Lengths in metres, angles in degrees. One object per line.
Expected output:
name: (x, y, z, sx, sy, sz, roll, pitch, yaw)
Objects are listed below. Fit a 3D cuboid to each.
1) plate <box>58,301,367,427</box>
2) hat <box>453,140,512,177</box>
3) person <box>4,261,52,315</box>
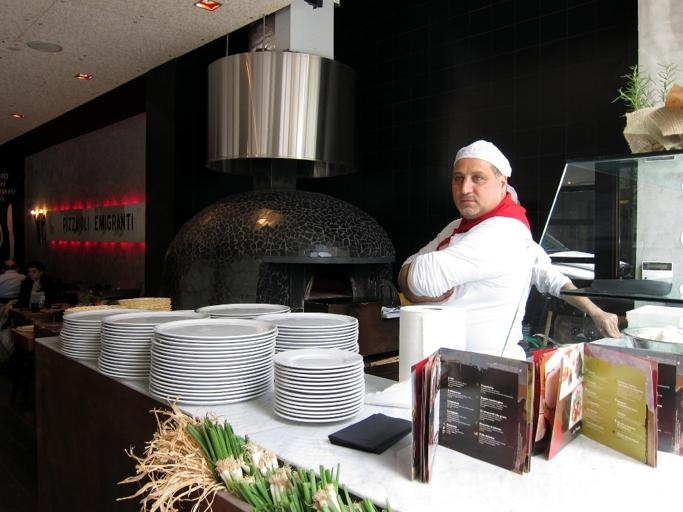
plate: (-0.379, 0.353, 1.585, 0.615, 0.147, 0.404, 2, 3, 31)
hat: (0.700, -0.532, 2.578, 0.220, 0.135, 0.263, 23, 12, -42)
person: (-4.124, 0.425, 6.494, 0.455, 0.782, 0.504, -3, -8, -22)
